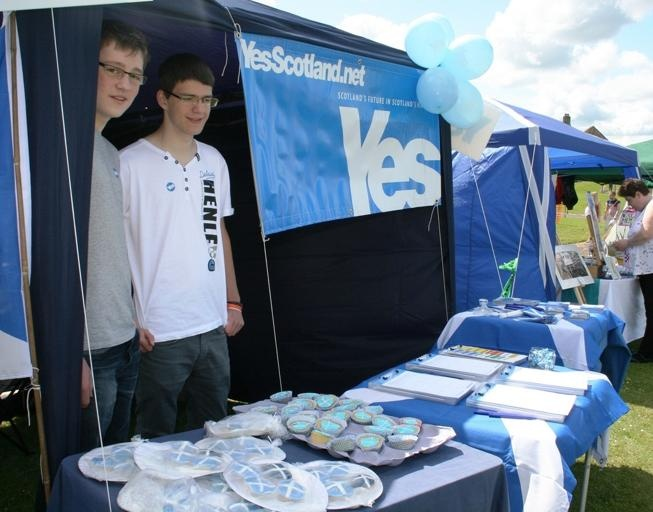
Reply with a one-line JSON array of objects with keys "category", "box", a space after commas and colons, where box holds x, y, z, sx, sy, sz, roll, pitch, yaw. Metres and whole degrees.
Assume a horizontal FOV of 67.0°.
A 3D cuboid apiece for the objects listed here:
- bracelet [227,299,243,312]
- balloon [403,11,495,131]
[{"category": "bracelet", "box": [-0.452, 0.241, 2.391, 0.108, 0.078, 0.140, 1, -4, -11]}, {"category": "balloon", "box": [0.804, -1.187, 3.193, 0.680, 0.645, 0.284, -4, 8, -37]}]
